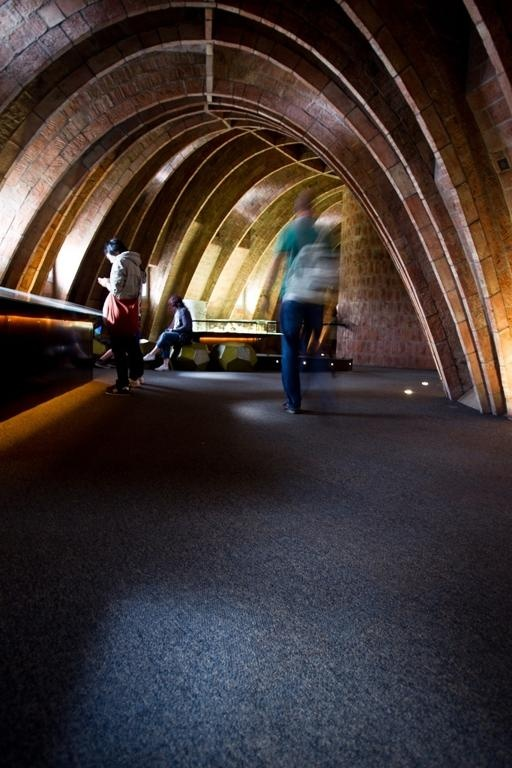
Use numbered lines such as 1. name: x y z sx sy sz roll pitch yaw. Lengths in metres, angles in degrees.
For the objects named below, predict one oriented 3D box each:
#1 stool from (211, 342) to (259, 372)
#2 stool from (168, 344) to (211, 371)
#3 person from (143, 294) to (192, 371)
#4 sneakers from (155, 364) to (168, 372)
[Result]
1. stool: -0.554 -0.654 10.887 0.749 0.428 0.793 4 5 28
2. stool: -1.507 -0.601 10.461 0.635 0.495 0.679 1 15 19
3. person: -1.901 -1.108 9.918 0.916 1.242 1.793 1 2 -26
4. sneakers: -2.198 -0.369 10.272 0.383 0.181 0.145 0 -3 38
